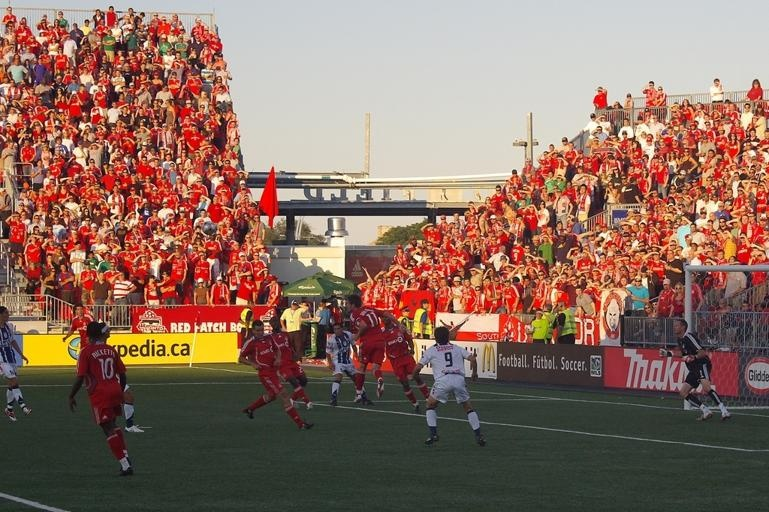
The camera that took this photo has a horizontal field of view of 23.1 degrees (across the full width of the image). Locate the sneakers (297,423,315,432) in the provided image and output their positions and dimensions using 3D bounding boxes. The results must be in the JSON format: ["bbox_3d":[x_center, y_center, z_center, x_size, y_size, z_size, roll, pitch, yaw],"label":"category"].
[{"bbox_3d":[-2.306,4.982,54.015,0.325,0.165,0.185,-17,34,29],"label":"sneakers"}]

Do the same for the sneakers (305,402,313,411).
[{"bbox_3d":[-2.309,4.596,56.835,0.206,0.229,0.240,2,2,10],"label":"sneakers"}]

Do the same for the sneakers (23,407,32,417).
[{"bbox_3d":[-10.749,4.735,56.236,0.198,0.262,0.279,-10,-9,-3],"label":"sneakers"}]

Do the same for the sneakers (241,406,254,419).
[{"bbox_3d":[-4.060,4.662,55.029,0.189,0.220,0.555,-3,-1,-33],"label":"sneakers"}]

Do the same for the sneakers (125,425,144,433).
[{"bbox_3d":[-7.226,5.027,53.857,0.564,0.237,0.206,1,1,1],"label":"sneakers"}]

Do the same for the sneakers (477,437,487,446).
[{"bbox_3d":[2.667,5.224,52.130,0.286,0.144,0.400,2,-4,2],"label":"sneakers"}]

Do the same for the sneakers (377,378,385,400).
[{"bbox_3d":[-0.163,4.235,58.811,0.227,0.660,0.280,-1,5,-6],"label":"sneakers"}]

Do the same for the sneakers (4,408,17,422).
[{"bbox_3d":[-11.185,4.796,55.815,0.156,0.369,0.126,-43,1,30],"label":"sneakers"}]
